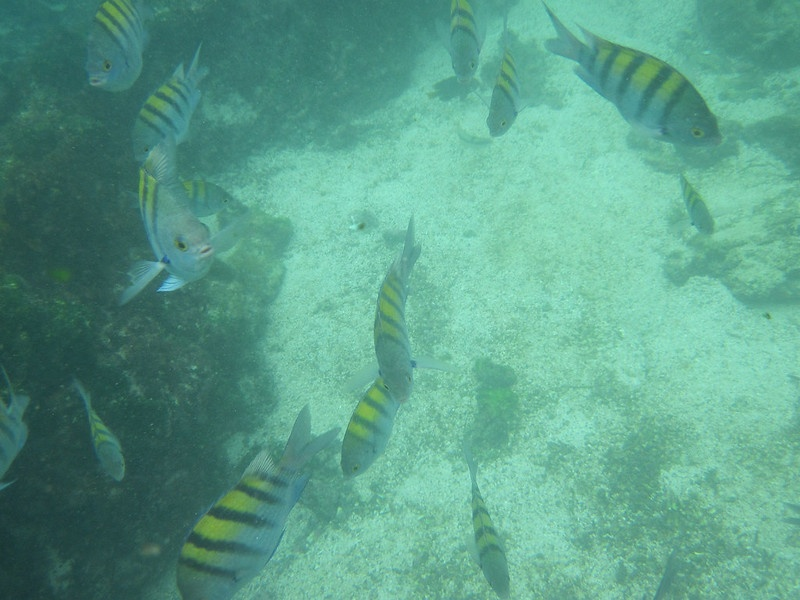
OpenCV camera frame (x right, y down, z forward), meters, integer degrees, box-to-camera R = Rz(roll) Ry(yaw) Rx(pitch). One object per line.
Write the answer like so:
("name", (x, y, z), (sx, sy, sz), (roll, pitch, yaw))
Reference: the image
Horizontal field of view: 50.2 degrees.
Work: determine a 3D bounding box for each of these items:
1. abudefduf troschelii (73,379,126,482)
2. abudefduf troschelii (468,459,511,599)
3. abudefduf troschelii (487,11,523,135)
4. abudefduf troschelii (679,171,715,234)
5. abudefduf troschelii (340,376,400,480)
("abudefduf troschelii", (-3.227, 1.444, 9.126), (0.211, 0.416, 1.124), (-22, 56, -8))
("abudefduf troschelii", (0.852, 2.228, 8.430), (0.271, 0.340, 1.571), (-12, 38, 9))
("abudefduf troschelii", (1.055, -2.129, 8.675), (0.244, 0.881, 0.552), (16, 51, 28))
("abudefduf troschelii", (3.199, -1.030, 9.192), (0.091, 0.608, 0.590), (-9, 26, -4))
("abudefduf troschelii", (-0.273, 1.325, 8.497), (0.177, 0.463, 1.310), (11, 73, 25))
